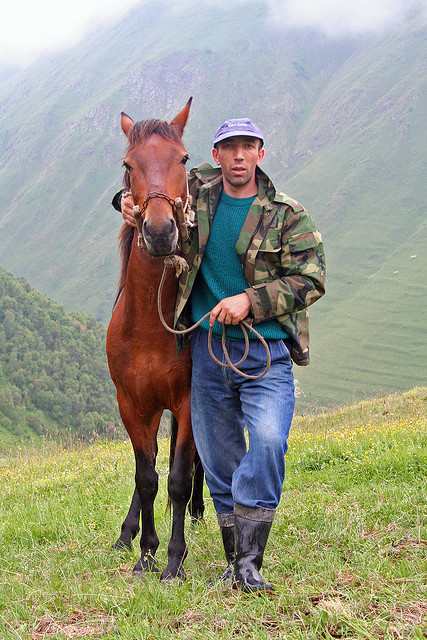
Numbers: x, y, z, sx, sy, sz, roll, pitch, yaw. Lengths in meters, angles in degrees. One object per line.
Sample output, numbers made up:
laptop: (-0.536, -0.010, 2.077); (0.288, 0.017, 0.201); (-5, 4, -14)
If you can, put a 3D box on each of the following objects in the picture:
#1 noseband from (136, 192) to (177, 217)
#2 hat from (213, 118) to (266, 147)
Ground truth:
noseband: (-0.366, -0.720, 3.605); (0.258, 0.164, 0.169); (-9, 15, -6)
hat: (0.141, -1.265, 3.822); (0.315, 0.168, 0.485); (-7, 14, 4)
